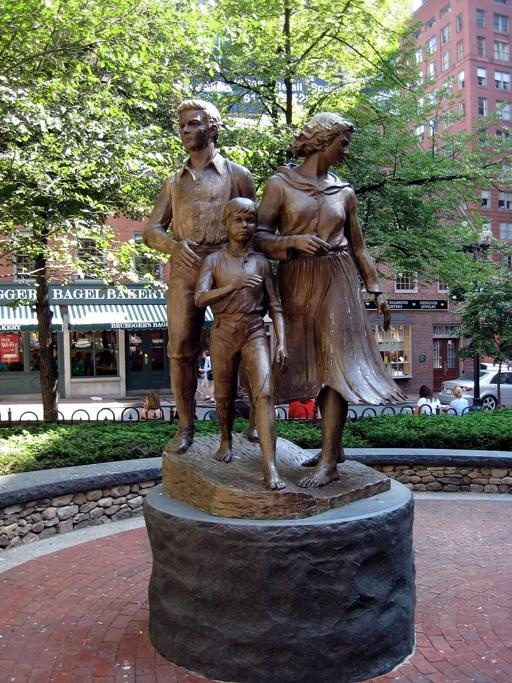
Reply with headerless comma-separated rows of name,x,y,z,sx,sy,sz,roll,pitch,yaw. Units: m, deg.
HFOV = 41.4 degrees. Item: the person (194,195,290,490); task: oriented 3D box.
person,-0.082,-0.018,3.868,0.503,1.574,0.838,1,-1,-25
